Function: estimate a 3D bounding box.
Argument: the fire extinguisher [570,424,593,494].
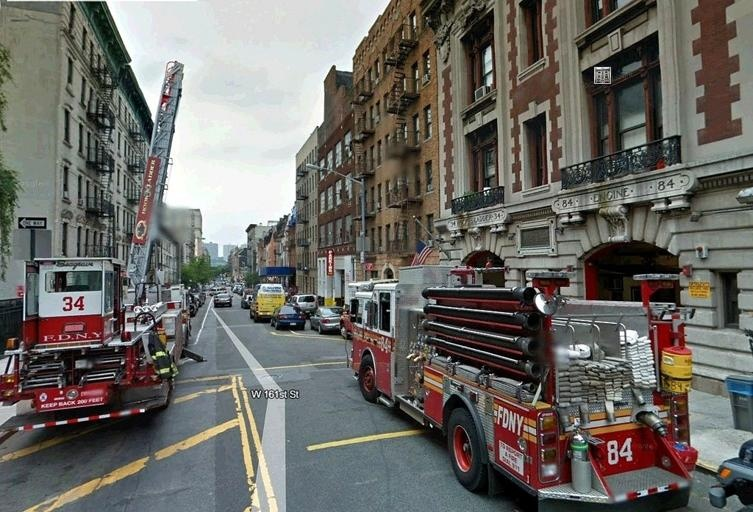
[{"bbox_3d":[4.203,4.205,11.824,0.436,1.213,0.304,2,8,22],"label":"fire extinguisher"}]

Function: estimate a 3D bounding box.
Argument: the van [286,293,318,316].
[{"bbox_3d":[-5.010,3.234,39.868,1.252,1.179,2.683,-1,3,-18],"label":"van"}]

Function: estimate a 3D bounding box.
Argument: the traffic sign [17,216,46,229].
[{"bbox_3d":[-10.896,-1.046,18.241,0.683,0.383,1.306,-7,9,-33],"label":"traffic sign"}]

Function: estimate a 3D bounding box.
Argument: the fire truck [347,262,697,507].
[{"bbox_3d":[3.031,2.727,15.159,4.021,3.846,8.354,2,-1,-23],"label":"fire truck"}]

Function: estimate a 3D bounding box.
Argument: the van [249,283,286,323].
[{"bbox_3d":[-7.399,3.083,39.661,1.704,2.025,3.513,0,0,-16],"label":"van"}]

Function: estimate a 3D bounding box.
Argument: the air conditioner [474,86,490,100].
[{"bbox_3d":[4.729,-7.258,25.560,0.415,0.768,0.803,5,-10,-13],"label":"air conditioner"}]
